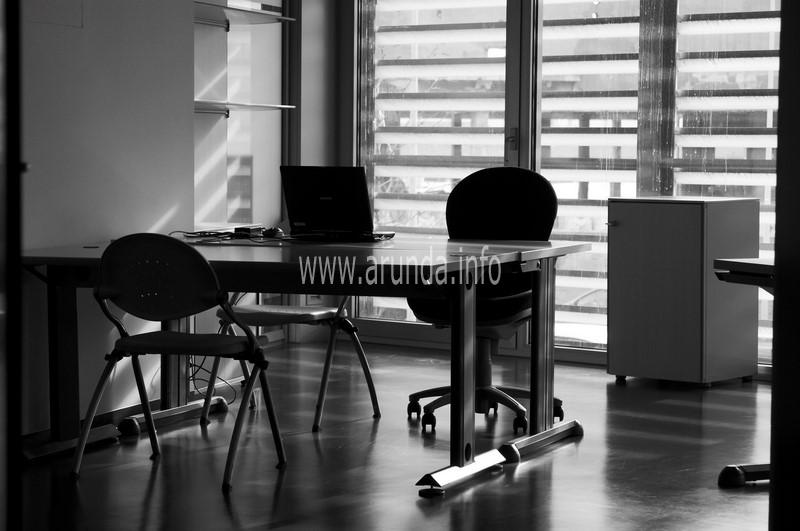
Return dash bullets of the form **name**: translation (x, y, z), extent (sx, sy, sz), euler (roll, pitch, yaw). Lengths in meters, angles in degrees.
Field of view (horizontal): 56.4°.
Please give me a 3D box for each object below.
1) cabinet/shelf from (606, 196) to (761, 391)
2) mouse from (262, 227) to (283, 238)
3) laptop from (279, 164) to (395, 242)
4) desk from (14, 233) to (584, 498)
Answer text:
- **cabinet/shelf**: translation (1.695, 0.131, 4.938), extent (0.737, 1.077, 0.708), euler (1, 2, 6)
- **mouse**: translation (-0.668, -0.171, 3.926), extent (0.104, 0.040, 0.064), euler (-1, 1, 37)
- **laptop**: translation (-0.350, -0.274, 3.841), extent (0.505, 0.341, 0.485), euler (2, -14, -2)
- **desk**: translation (-0.419, 0.394, 3.460), extent (2.554, 0.968, 1.155), euler (1, 6, 10)
